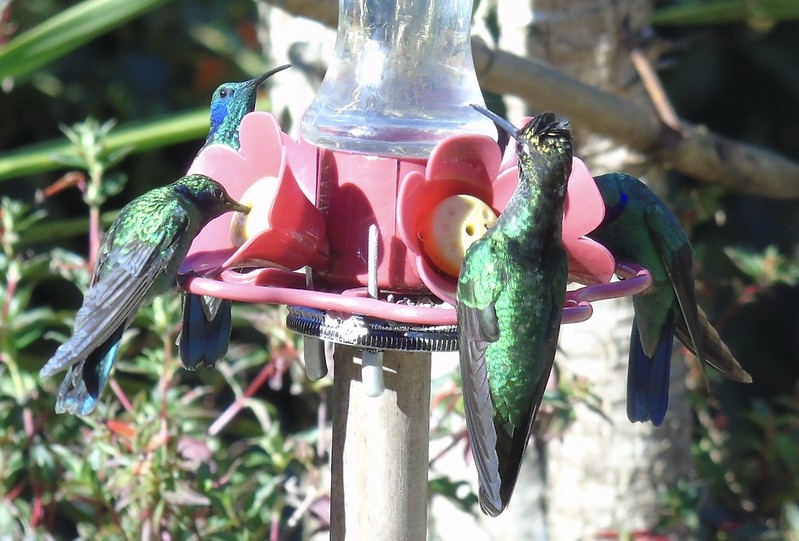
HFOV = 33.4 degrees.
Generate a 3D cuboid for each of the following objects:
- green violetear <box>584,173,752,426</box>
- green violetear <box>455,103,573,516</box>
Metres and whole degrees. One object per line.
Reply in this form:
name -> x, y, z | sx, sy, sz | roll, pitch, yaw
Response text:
green violetear -> 0.912, 0.103, 4.538 | 0.381, 0.881, 0.436 | -3, 4, -34
green violetear -> 0.346, 0.126, 4.194 | 0.374, 1.235, 0.192 | -3, 4, -40
